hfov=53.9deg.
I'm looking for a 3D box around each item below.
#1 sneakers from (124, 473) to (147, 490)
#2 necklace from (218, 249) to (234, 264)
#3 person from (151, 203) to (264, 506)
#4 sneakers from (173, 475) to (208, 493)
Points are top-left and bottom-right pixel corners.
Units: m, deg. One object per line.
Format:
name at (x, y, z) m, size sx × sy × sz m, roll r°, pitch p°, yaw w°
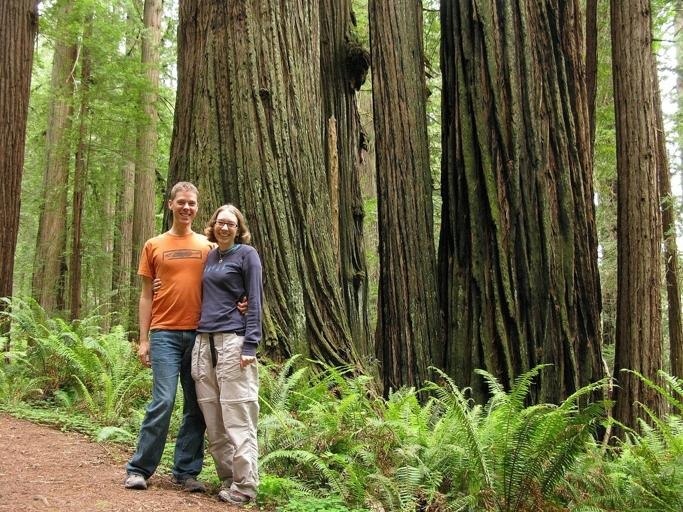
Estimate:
sneakers at (-2.139, 2.325, 6.983) m, size 0.250 × 0.150 × 0.179 m, roll 4°, pitch -4°, yaw -5°
necklace at (-1.255, 0.018, 7.323) m, size 0.124 × 0.184 × 0.117 m, roll 11°, pitch -4°, yaw 6°
person at (-1.191, 1.221, 7.145) m, size 0.745 × 2.681 × 0.363 m, roll 1°, pitch -4°, yaw 31°
sneakers at (-1.622, 2.441, 7.256) m, size 0.324 × 0.169 × 0.142 m, roll -3°, pitch -10°, yaw 28°
